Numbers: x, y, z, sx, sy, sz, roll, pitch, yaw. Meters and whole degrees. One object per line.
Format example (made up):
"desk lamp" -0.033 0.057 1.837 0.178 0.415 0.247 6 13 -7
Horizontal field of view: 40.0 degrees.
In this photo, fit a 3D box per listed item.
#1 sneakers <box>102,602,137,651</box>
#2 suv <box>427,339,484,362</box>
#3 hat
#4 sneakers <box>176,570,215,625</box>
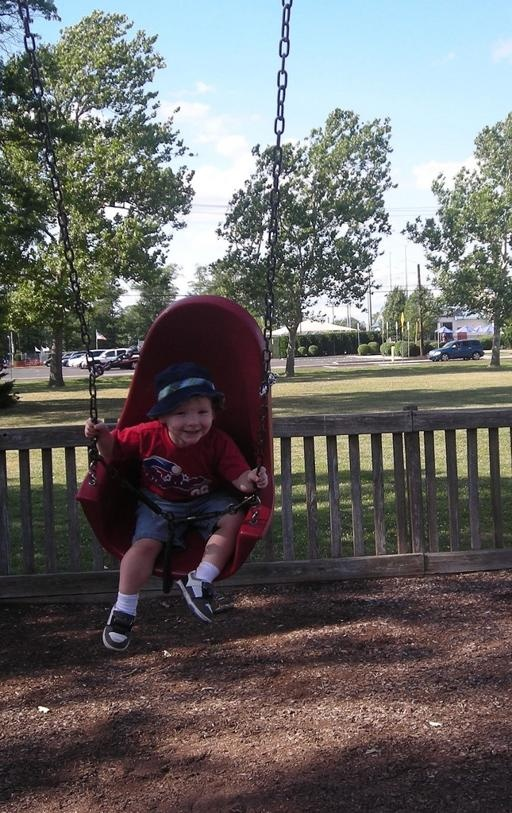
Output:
"sneakers" -0.455 0.731 2.389 0.085 0.094 0.236 22 5 -9
"suv" 13.359 -3.652 46.753 3.247 1.286 1.505 2 0 -5
"hat" -0.285 -0.047 2.675 0.237 0.131 0.221 -31 -14 29
"sneakers" -0.200 0.631 2.326 0.100 0.159 0.152 -2 0 -13
